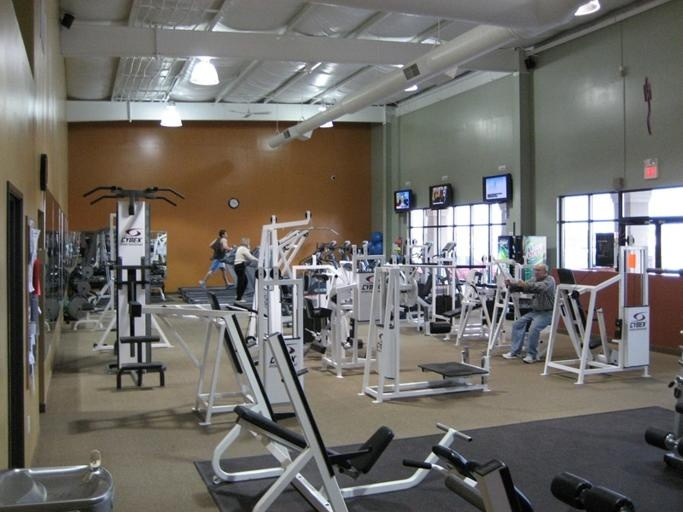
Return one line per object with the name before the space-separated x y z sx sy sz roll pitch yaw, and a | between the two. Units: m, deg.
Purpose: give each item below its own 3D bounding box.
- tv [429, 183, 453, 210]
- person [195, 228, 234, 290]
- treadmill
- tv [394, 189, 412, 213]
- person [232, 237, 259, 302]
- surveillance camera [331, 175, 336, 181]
tv | 2.627 -1.550 14.232 0.327 0.635 0.652 3 -4 -36
person | -3.199 0.032 14.999 0.789 2.088 0.893 3 3 -42
treadmill | -3.272 0.840 14.505 1.782 1.422 1.916 2 -4 -17
tv | 1.822 -1.596 15.946 0.355 0.659 0.671 0 -2 -22
person | -2.289 0.259 12.904 0.494 1.702 0.550 2 4 -37
surveillance camera | -0.262 -2.486 17.471 0.151 0.135 0.040 -1 0 -21
